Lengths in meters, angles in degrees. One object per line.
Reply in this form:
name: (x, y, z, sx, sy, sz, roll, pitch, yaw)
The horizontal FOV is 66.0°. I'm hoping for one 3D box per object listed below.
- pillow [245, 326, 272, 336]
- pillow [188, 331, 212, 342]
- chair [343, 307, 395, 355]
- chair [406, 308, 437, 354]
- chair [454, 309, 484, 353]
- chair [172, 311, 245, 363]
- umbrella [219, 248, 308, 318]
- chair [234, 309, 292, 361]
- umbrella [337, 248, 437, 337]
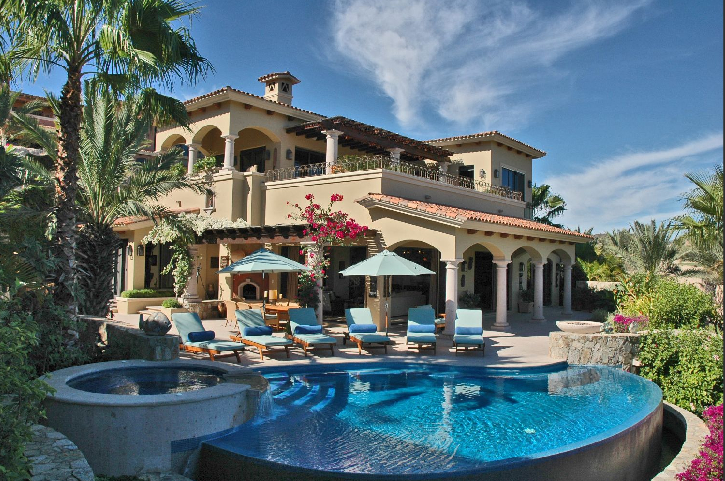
pillow: (-3.535, 3.015, 18.661, 0.833, 0.294, 0.320, 0, -8, -8)
pillow: (-5.124, 3.009, 17.651, 0.759, 0.308, 0.222, 1, -8, -17)
chair: (0.095, 3.043, 19.804, 1.163, 0.971, 2.108, -1, 5, -23)
chair: (2.087, 3.114, 19.834, 1.021, 1.258, 1.642, 2, 2, 6)
chair: (3.715, 3.147, 19.606, 1.063, 1.134, 1.754, 0, 2, 10)
chair: (-4.989, 3.063, 17.807, 2.353, 1.584, 0.959, -5, -9, 25)
umbrella: (-3.570, 1.357, 20.208, 2.698, 1.872, 2.738, 1, -1, 8)
chair: (-3.396, 3.060, 18.663, 1.228, 1.303, 2.178, 4, -1, -42)
umbrella: (1.169, 2.158, 23.593, 3.357, 2.525, 3.533, -1, 0, 28)
